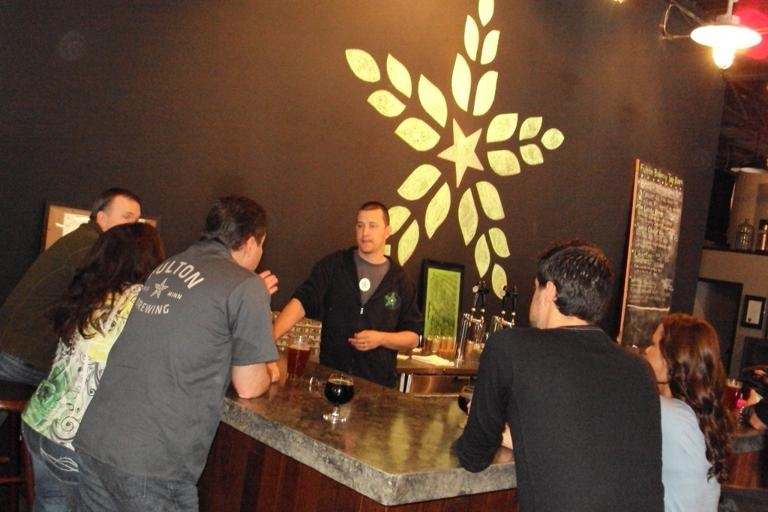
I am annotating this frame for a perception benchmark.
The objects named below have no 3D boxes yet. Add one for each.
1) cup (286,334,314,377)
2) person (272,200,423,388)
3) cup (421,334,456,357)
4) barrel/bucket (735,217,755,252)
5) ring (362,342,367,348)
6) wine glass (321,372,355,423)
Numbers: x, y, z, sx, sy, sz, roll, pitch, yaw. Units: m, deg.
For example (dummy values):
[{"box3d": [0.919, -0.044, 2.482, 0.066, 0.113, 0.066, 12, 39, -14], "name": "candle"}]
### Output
[{"box3d": [-0.452, 0.509, 2.776, 0.103, 0.218, 0.154, 6, 7, -11], "name": "cup"}, {"box3d": [-0.153, 0.263, 3.370, 0.791, 1.204, 0.735, 8, 7, 5], "name": "person"}, {"box3d": [0.476, 0.753, 4.614, 0.175, 0.239, 0.246, 2, -6, 14], "name": "cup"}, {"box3d": [5.117, -0.306, 7.594, 0.232, 0.341, 0.872, 12, 7, 34], "name": "barrel/bucket"}, {"box3d": [-0.111, 0.499, 3.023, 0.029, 0.030, 0.008, 6, 9, 7], "name": "ring"}, {"box3d": [-0.200, 0.597, 2.373, 0.125, 0.183, 0.281, 7, 6, -3], "name": "wine glass"}]
